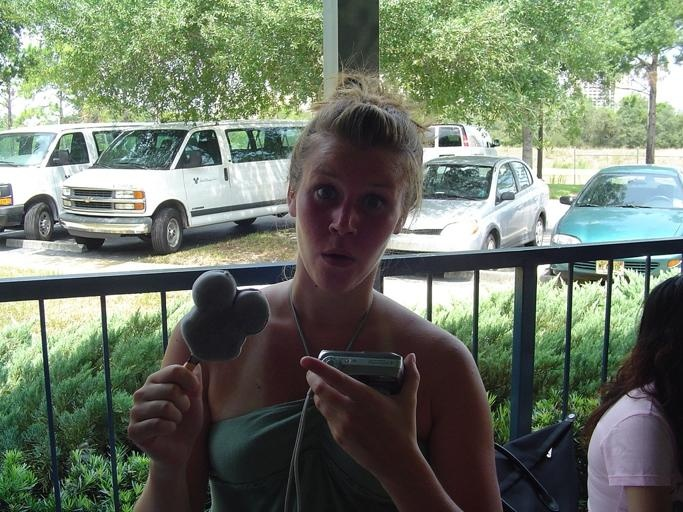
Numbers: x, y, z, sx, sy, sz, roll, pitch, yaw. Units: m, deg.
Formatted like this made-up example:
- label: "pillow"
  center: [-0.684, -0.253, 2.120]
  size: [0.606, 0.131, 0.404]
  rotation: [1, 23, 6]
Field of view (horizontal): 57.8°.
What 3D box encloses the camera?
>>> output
- label: "camera"
  center: [0.060, 0.352, 1.891]
  size: [0.258, 0.123, 0.060]
  rotation: [1, 6, -2]
